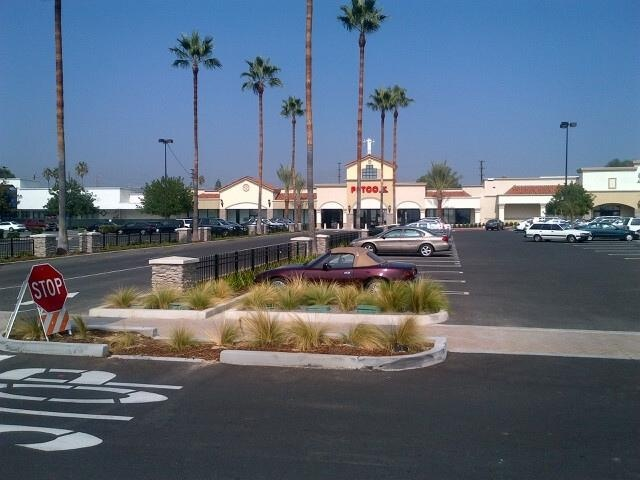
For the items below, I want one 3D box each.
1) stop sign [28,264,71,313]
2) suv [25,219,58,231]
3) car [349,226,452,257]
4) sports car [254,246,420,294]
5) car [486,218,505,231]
[{"bbox_3d":[-5.181,0.919,10.966,0.306,0.920,0.899,1,4,11],"label":"stop sign"},{"bbox_3d":[-31.716,-1.687,65.830,3.062,0.903,1.876,8,8,38],"label":"suv"},{"bbox_3d":[4.442,0.049,32.329,5.417,1.688,2.125,1,0,14],"label":"car"},{"bbox_3d":[0.442,1.020,16.386,4.454,1.546,2.094,0,-5,16],"label":"sports car"},{"bbox_3d":[22.532,-1.915,74.745,2.016,1.306,3.709,1,4,14],"label":"car"}]
